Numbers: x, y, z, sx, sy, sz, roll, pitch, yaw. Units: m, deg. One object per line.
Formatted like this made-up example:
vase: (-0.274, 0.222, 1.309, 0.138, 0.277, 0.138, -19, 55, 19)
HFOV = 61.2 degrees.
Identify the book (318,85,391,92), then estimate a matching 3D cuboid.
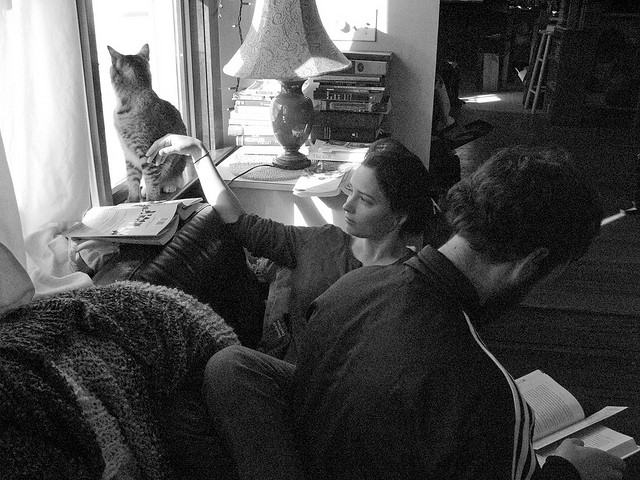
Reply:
book: (0.130, -0.655, 2.343, 0.274, 0.021, 0.033, 1, 19, 2)

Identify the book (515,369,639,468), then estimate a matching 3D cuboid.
book: (0.639, 0.439, 1.364, 0.228, 0.074, 0.293, 3, 20, 7)

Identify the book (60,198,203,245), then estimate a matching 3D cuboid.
book: (-0.538, -0.049, 1.565, 0.366, 0.080, 0.234, -4, 20, -12)

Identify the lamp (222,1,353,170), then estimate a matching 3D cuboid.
lamp: (-0.104, -0.606, 2.205, 0.517, 0.759, 0.521, 1, 11, 6)
